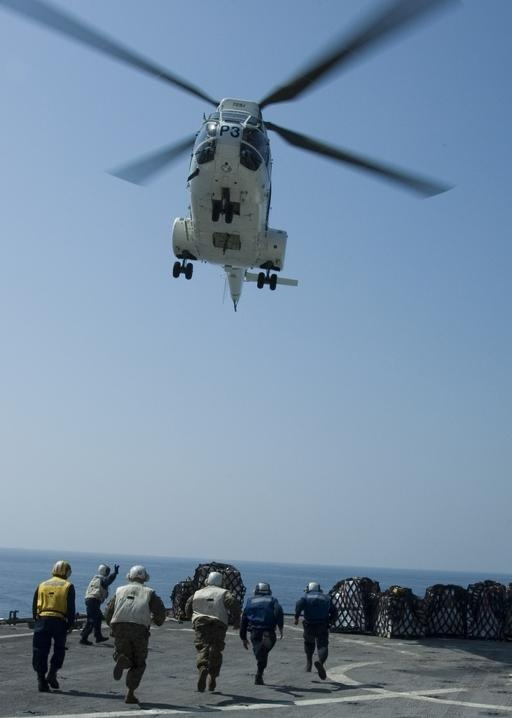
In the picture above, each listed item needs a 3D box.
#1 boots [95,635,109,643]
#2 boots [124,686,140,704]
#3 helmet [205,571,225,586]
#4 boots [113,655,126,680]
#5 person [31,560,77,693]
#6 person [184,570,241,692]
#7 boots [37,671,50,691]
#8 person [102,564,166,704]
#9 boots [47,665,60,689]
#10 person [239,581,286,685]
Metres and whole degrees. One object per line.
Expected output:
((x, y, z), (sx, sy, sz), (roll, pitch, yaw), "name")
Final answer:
((-3.082, 5.580, 15.956), (0.290, 0.095, 0.182), (-9, -36, -15), "boots")
((-1.571, 4.289, 10.218), (0.174, 0.175, 0.207), (6, -18, -8), "boots")
((-0.607, 3.173, 11.646), (0.279, 0.323, 0.339), (5, -16, -5), "helmet")
((-1.789, 4.051, 10.555), (0.137, 0.295, 0.336), (6, -18, -7), "boots")
((-2.839, 3.676, 11.171), (0.588, 1.711, 0.551), (7, -19, -10), "person")
((-0.633, 3.868, 11.411), (0.775, 1.654, 0.800), (4, -18, -3), "person")
((-2.850, 4.354, 10.809), (0.162, 0.217, 0.280), (2, -17, 3), "boots")
((-1.635, 3.620, 10.663), (0.782, 1.703, 0.642), (6, -19, -8), "person")
((-2.769, 4.372, 10.990), (0.173, 0.269, 0.308), (7, -18, -10), "boots")
((0.066, 4.225, 12.412), (0.636, 1.479, 0.900), (3, -18, 0), "person")
